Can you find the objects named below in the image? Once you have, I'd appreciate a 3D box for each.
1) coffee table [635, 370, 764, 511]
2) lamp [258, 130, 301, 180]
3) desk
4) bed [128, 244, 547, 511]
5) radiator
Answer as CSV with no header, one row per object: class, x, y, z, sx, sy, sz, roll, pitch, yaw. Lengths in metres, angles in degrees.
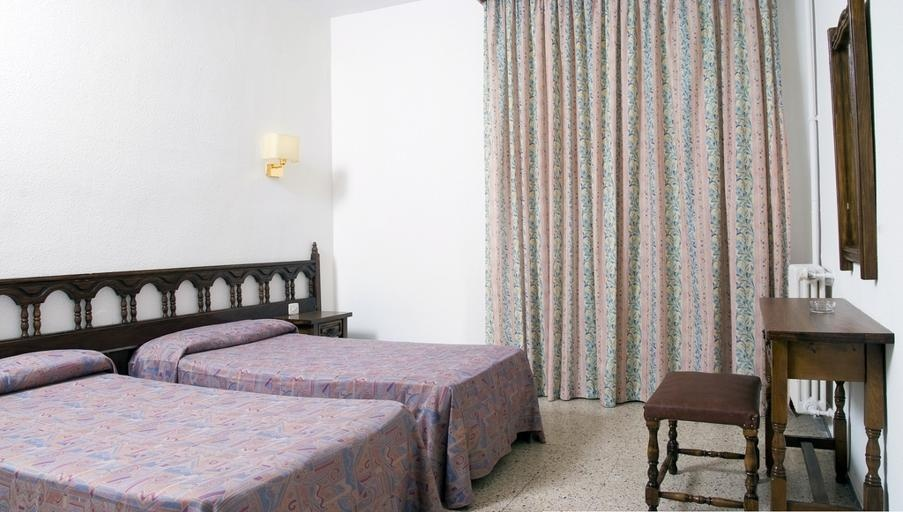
coffee table,1.691,1.272,4.437,0.951,0.856,1.067,-1,2,21
lamp,-1.724,-1.005,6.179,0.243,0.379,0.381,-3,-1,42
desk,2.475,0.991,4.024,0.630,0.896,1.585,-1,1,22
bed,-0.861,0.927,5.008,2.479,1.180,1.542,1,6,21
radiator,2.555,0.582,4.322,0.280,0.663,1.298,-7,4,24
